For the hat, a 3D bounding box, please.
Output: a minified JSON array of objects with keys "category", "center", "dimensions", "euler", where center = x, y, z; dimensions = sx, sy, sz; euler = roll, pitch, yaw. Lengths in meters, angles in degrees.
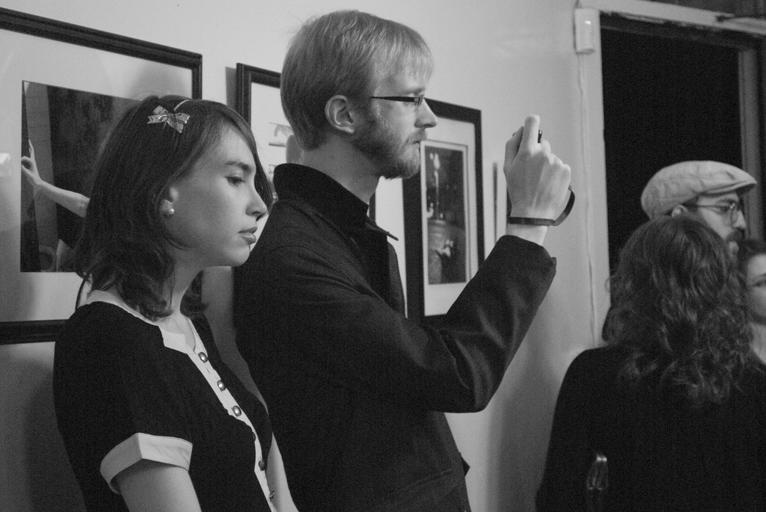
[{"category":"hat","center":[1.018,-0.229,3.030],"dimensions":[0.295,0.161,0.201],"euler":[-9,8,33]}]
